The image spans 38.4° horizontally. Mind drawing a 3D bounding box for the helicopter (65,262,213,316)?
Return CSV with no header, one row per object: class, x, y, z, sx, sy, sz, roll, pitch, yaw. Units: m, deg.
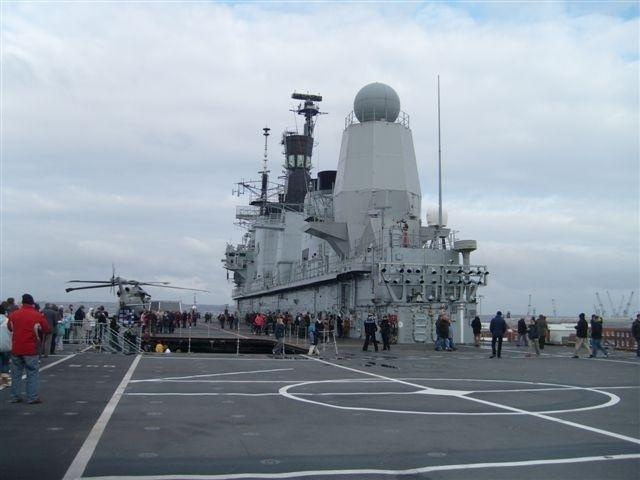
helicopter,-11.121,3.054,53.819,5.281,1.854,5.448,1,1,-42
